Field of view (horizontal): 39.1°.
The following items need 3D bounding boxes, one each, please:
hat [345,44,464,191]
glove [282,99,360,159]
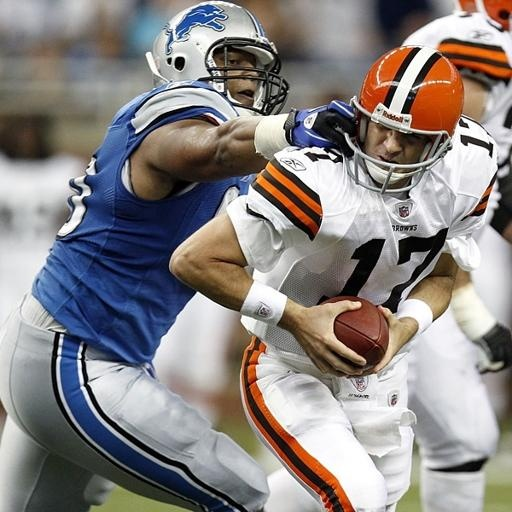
[{"bbox_3d":[0.408,-0.386,1.971,0.292,0.298,0.376,19,43,16],"label":"hat"},{"bbox_3d":[0.178,-0.346,1.926,0.204,0.127,0.088,3,9,25],"label":"glove"}]
